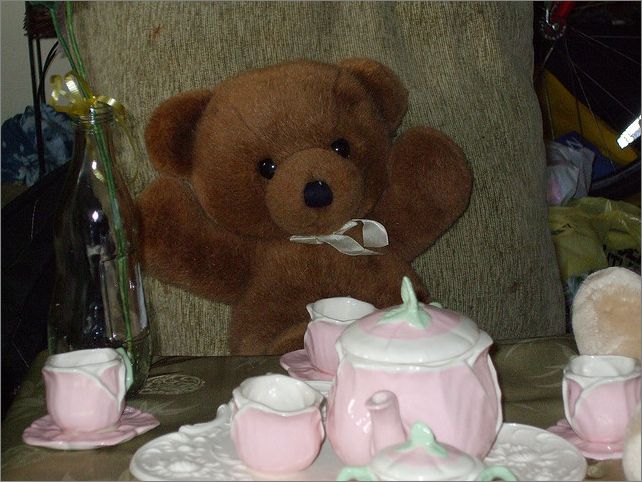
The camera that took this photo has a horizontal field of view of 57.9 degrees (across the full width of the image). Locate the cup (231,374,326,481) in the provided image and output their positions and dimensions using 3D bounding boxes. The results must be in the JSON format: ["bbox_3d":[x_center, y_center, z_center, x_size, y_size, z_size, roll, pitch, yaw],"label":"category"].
[{"bbox_3d":[-0.038,0.160,0.521,0.074,0.060,0.082,1,0,-3],"label":"cup"}]

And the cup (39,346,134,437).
[{"bbox_3d":[-0.245,0.163,0.623,0.080,0.079,0.104,-1,4,24],"label":"cup"}]

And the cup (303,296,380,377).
[{"bbox_3d":[0.017,0.103,0.677,0.072,0.070,0.091,1,9,3],"label":"cup"}]
